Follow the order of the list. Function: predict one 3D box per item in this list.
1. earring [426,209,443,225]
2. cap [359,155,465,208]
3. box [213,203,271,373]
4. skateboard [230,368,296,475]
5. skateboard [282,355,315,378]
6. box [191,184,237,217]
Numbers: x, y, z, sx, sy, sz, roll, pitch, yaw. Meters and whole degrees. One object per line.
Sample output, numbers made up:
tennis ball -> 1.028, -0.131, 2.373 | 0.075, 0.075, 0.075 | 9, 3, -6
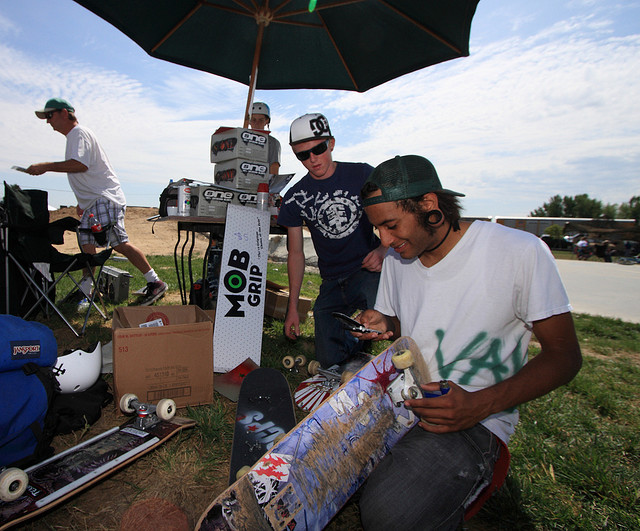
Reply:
earring -> 0.627, -0.262, 2.100 | 0.091, 0.078, 0.016 | -1, 7, -11
cap -> 0.490, -0.467, 2.121 | 0.484, 0.283, 0.189 | 2, 7, 16
box -> -0.762, 0.200, 4.060 | 0.668, 1.551, 0.640 | 0, 9, -15
skateboard -> -0.430, 1.162, 2.897 | 0.395, 1.109, 0.161 | 2, 27, -7
skateboard -> -0.229, 1.014, 3.901 | 0.247, 0.092, 0.226 | 8, 0, -17
box -> -1.203, -0.726, 4.343 | 0.281, 0.325, 0.520 | 8, 12, 39
